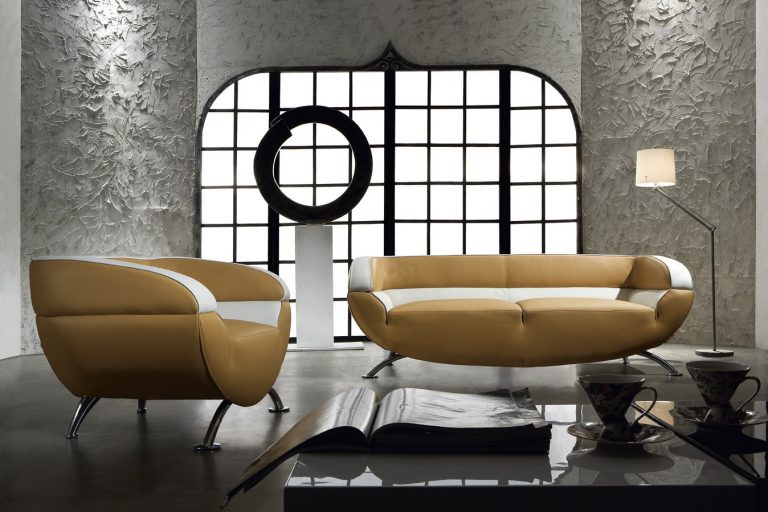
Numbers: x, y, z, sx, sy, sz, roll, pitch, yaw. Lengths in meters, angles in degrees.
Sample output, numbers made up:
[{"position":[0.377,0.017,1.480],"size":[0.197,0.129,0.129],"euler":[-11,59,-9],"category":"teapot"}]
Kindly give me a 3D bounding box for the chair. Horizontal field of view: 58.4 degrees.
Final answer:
[{"position":[-1.331,0.507,4.235],"size":[1.260,1.024,1.628],"euler":[-1,-2,16],"category":"chair"}]

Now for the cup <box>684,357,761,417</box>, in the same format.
[{"position":[1.393,0.517,2.769],"size":[0.263,0.194,0.211],"euler":[1,-2,11],"category":"cup"}]

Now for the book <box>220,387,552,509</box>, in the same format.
[{"position":[0.113,0.637,2.598],"size":[0.825,0.195,0.614],"euler":[2,-3,4],"category":"book"}]

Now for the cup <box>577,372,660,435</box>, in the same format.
[{"position":[0.897,0.541,2.597],"size":[0.266,0.200,0.217],"euler":[0,-2,4],"category":"cup"}]
